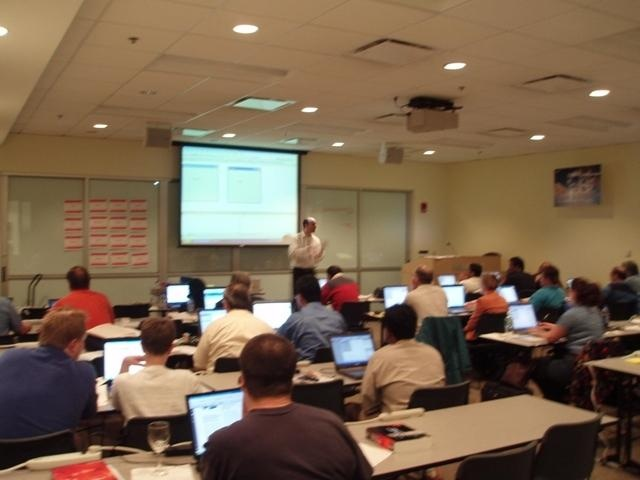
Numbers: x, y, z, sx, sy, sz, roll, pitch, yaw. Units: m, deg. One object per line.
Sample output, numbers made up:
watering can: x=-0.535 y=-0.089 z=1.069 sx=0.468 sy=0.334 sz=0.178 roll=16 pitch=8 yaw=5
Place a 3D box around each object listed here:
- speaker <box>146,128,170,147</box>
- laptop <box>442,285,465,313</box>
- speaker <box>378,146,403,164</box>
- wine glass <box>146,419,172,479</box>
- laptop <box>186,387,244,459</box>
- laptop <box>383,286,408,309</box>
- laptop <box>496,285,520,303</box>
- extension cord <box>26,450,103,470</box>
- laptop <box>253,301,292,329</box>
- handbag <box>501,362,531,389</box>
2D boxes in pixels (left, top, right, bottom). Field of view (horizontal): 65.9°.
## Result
speaker: x=-2.357 y=-1.509 z=7.270 sx=0.453 sy=0.307 sz=0.248 roll=0 pitch=12 yaw=-15
laptop: x=2.060 y=0.889 z=7.573 sx=0.491 sy=0.442 sz=0.112 roll=3 pitch=-7 yaw=-25
speaker: x=1.305 y=-1.568 z=9.031 sx=0.410 sy=0.350 sz=0.468 roll=-1 pitch=-2 yaw=0
wine glass: x=-0.808 y=1.017 z=2.490 sx=0.098 sy=0.249 sz=0.249 roll=0 pitch=-2 yaw=-19
laptop: x=-0.573 y=0.909 z=2.465 sx=0.366 sy=0.290 sz=0.298 roll=-8 pitch=-20 yaw=2
laptop: x=1.087 y=0.806 z=7.193 sx=0.483 sy=0.446 sz=0.109 roll=-2 pitch=5 yaw=-28
laptop: x=2.813 y=0.798 z=7.316 sx=0.358 sy=0.317 sz=0.082 roll=-19 pitch=6 yaw=-32
extension cord: x=-1.203 y=1.065 z=2.432 sx=0.403 sy=0.057 sz=0.116 roll=1 pitch=0 yaw=-17
laptop: x=-0.493 y=0.777 z=5.087 sx=0.339 sy=0.228 sz=0.033 roll=1 pitch=-3 yaw=-10
handbag: x=1.854 y=1.273 z=4.691 sx=0.221 sy=0.212 sz=0.066 roll=1 pitch=-35 yaw=46
